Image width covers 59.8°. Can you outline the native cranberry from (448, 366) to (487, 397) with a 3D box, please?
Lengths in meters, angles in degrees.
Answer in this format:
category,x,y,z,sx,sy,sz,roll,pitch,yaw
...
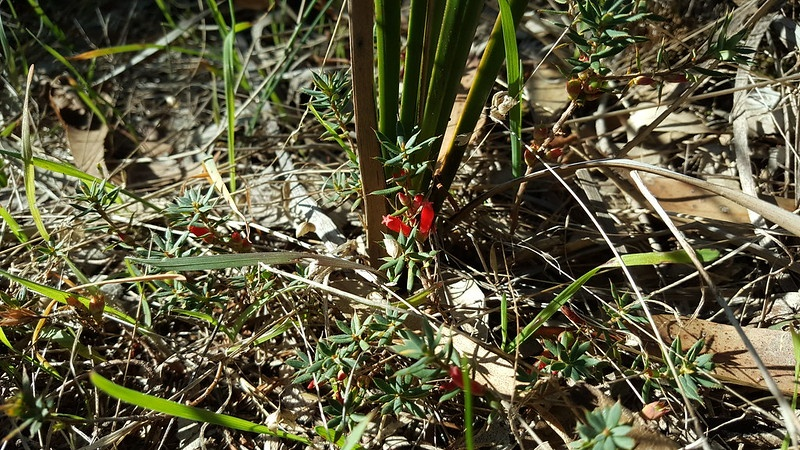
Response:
category,x,y,z,sx,sy,sz,roll,pitch,yaw
native cranberry,0.191,0.461,2.043,0.119,0.039,0.076,38,39,-22

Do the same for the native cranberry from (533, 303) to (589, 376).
category,x,y,z,sx,sy,sz,roll,pitch,yaw
native cranberry,0.516,0.365,2.197,0.092,0.156,0.215,6,46,-44

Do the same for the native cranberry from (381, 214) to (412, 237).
category,x,y,z,sx,sy,sz,roll,pitch,yaw
native cranberry,-0.020,0.008,2.234,0.125,0.045,0.043,25,60,-19

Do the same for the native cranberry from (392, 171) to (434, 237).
category,x,y,z,sx,sy,sz,roll,pitch,yaw
native cranberry,0.039,-0.064,2.220,0.063,0.103,0.176,-115,-178,-63
